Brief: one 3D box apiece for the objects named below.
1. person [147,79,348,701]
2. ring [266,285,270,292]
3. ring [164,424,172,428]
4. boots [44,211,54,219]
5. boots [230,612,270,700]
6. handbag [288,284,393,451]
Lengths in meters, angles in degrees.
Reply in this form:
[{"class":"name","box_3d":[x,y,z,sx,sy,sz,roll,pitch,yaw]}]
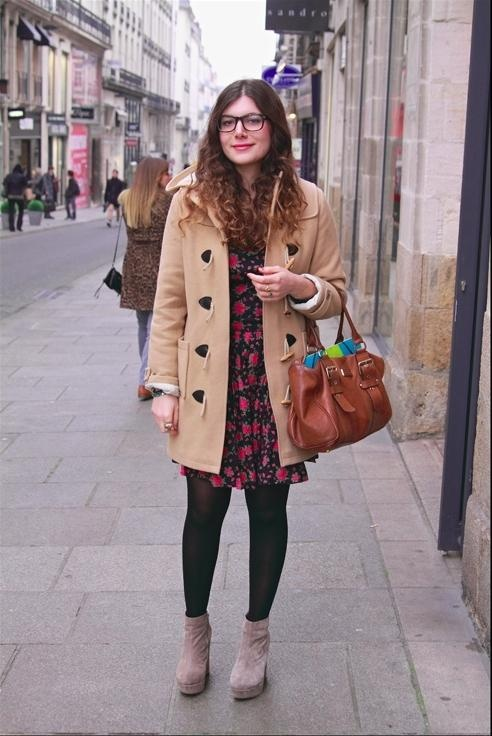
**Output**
[{"class":"person","box_3d":[-0.012,0.079,1.579,0.502,1.582,0.362,1,3,9]},{"class":"ring","box_3d":[0.048,-0.173,1.381,0.009,0.010,0.006,17,16,17]},{"class":"ring","box_3d":[-0.200,0.147,1.585,0.011,0.010,0.012,-2,-5,44]},{"class":"boots","box_3d":[-1.996,-1.534,6.271,0.101,0.096,0.043,-13,39,-25]},{"class":"boots","box_3d":[0.008,0.766,1.675,0.075,0.161,0.235,-2,-3,18]},{"class":"handbag","box_3d":[0.228,0.058,1.541,0.137,0.281,0.284,3,5,42]}]
